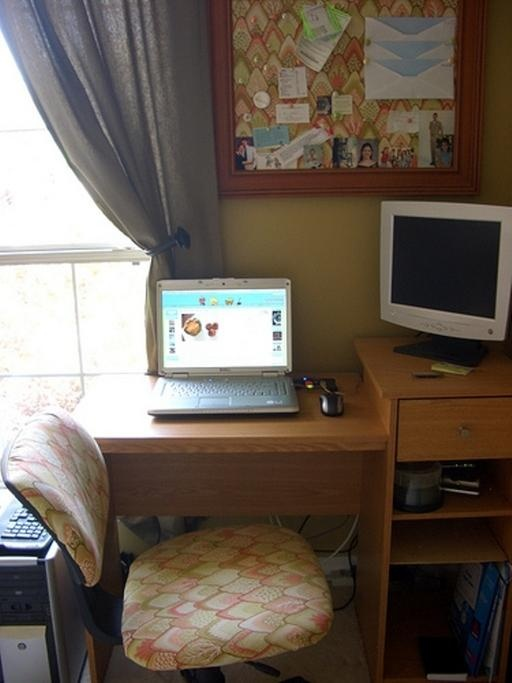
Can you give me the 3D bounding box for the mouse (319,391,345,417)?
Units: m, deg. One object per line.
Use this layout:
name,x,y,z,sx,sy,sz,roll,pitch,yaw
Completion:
mouse,0.195,0.157,1.394,0.043,0.021,0.064,1,32,7

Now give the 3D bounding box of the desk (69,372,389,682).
desk,0.023,0.557,1.877,1.117,1.040,0.780,0,26,-1

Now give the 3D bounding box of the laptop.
laptop,-0.089,0.001,1.461,0.386,0.303,0.310,-1,13,-1

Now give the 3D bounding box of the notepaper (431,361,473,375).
notepaper,0.486,0.070,1.354,0.096,0.011,0.083,6,13,31

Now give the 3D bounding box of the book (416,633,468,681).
book,0.513,0.875,1.488,0.099,0.024,0.103,2,21,1
